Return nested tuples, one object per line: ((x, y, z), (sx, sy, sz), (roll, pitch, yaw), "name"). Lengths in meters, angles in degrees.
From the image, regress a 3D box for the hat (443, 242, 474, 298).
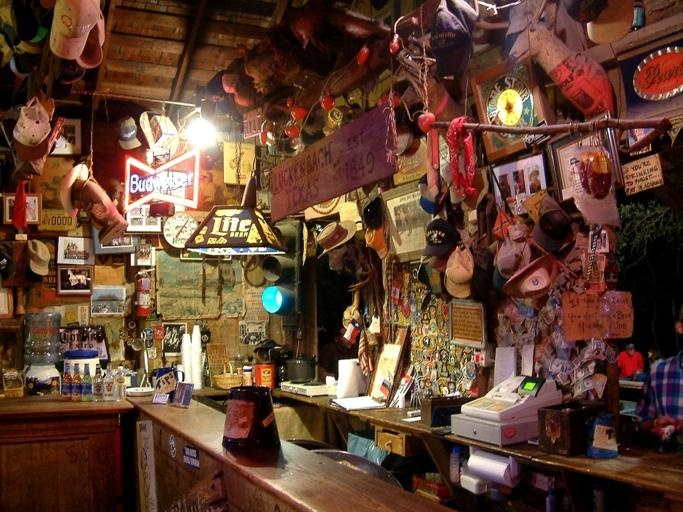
((0.874, 0.107, 4.390), (0.195, 0.370, 0.249), (0, -10, 9), "hat")

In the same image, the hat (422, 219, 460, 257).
((0.729, -0.179, 4.466), (0.242, 0.238, 0.370), (7, 25, 32), "hat")

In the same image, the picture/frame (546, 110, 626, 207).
((1.429, -0.588, 3.442), (0.072, 0.577, 0.601), (0, -1, -19), "picture/frame")

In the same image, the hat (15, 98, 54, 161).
((-2.613, -1.077, 5.045), (0.311, 0.563, 0.134), (6, 6, -12), "hat")

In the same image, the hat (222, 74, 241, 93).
((-0.800, -1.247, 4.236), (0.103, 0.121, 0.204), (5, -11, -17), "hat")

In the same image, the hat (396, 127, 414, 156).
((0.484, -0.838, 4.325), (0.142, 0.161, 0.268), (0, -10, 8), "hat")

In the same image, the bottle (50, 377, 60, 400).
((-2.941, 1.354, 6.044), (0.048, 0.162, 0.106), (2, -5, -9), "bottle")

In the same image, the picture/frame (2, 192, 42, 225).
((-3.639, -0.546, 6.679), (0.323, 0.375, 0.022), (-1, -3, -35), "picture/frame")

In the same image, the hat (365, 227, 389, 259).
((0.305, -0.123, 5.275), (0.234, 0.273, 0.174), (12, -29, -39), "hat")

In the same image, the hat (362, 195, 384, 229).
((0.290, -0.396, 5.245), (0.175, 0.282, 0.255), (8, 25, 21), "hat")

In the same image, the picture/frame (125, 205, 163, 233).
((-2.355, -0.458, 6.967), (0.269, 0.270, 0.029), (2, -7, -22), "picture/frame")

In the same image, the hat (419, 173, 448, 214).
((0.713, -0.468, 4.604), (0.211, 0.247, 0.368), (0, -10, 8), "hat")

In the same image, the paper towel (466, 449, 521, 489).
((0.939, 1.316, 3.761), (0.237, 0.236, 0.147), (7, 11, 26), "paper towel")

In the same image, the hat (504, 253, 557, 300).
((1.233, 0.148, 3.833), (0.291, 0.279, 0.113), (-30, 25, 16), "hat")

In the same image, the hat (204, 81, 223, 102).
((-1.153, -1.492, 5.341), (0.125, 0.204, 0.052), (3, 32, 4), "hat")

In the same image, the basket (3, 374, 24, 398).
((-3.525, 1.395, 6.314), (0.121, 0.246, 0.121), (11, -34, -37), "basket")

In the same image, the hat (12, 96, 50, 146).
((-2.601, -1.133, 4.991), (0.267, 0.323, 0.362), (8, -12, -35), "hat")

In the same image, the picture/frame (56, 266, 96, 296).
((-3.135, 0.283, 6.906), (0.291, 0.337, 0.030), (3, -12, -27), "picture/frame")

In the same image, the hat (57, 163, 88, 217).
((-2.567, -0.683, 5.689), (0.231, 0.529, 0.318), (6, -11, -25), "hat")

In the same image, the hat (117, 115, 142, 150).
((-2.468, -1.411, 6.864), (0.219, 0.386, 0.215), (-23, -8, -26), "hat")

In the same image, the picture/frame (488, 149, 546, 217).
((1.226, -0.519, 4.082), (0.041, 0.484, 0.442), (-4, 3, -30), "picture/frame")

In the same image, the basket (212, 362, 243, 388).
((-1.348, 1.395, 6.953), (0.342, 0.329, 0.540), (4, -10, -13), "basket")

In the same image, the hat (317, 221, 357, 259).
((-0.058, -0.188, 5.576), (0.109, 0.298, 0.311), (39, -60, -23), "hat")

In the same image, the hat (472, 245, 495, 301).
((1.014, 0.126, 4.264), (0.104, 0.341, 0.220), (2, 5, -21), "hat")

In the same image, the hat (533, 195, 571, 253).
((1.375, -0.207, 3.849), (0.249, 0.369, 0.176), (-3, -10, 24), "hat")

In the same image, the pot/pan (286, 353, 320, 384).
((-0.438, 1.228, 6.402), (0.311, 0.290, 0.392), (2, -10, 0), "pot/pan")

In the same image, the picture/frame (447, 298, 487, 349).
((0.947, 0.505, 4.462), (0.069, 0.374, 0.395), (7, -11, -30), "picture/frame")

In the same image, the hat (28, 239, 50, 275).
((-3.426, 0.002, 6.686), (0.100, 0.382, 0.239), (-20, 2, 32), "hat")

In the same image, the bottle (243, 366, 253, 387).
((-1.082, 1.360, 6.789), (0.132, 0.220, 0.572), (3, -10, -9), "bottle")
